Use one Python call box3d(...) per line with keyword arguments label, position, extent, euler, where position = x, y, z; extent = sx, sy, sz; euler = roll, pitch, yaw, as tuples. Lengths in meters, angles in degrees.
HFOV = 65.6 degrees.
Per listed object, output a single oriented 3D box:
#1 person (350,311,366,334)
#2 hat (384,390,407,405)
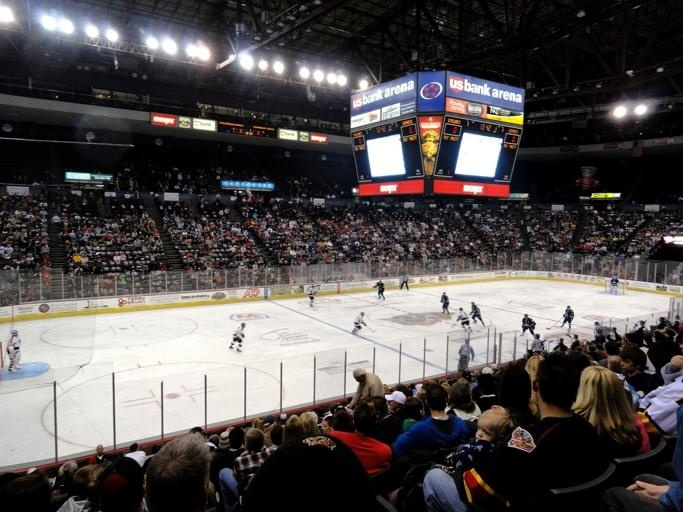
box3d(label="person", position=(0.827, 3.354, 26.629), extent=(0.654, 0.382, 0.856), euler=(-9, -38, -3))
box3d(label="hat", position=(1.265, 3.264, 12.305), extent=(0.463, 0.168, 0.857), euler=(1, 6, 2))
